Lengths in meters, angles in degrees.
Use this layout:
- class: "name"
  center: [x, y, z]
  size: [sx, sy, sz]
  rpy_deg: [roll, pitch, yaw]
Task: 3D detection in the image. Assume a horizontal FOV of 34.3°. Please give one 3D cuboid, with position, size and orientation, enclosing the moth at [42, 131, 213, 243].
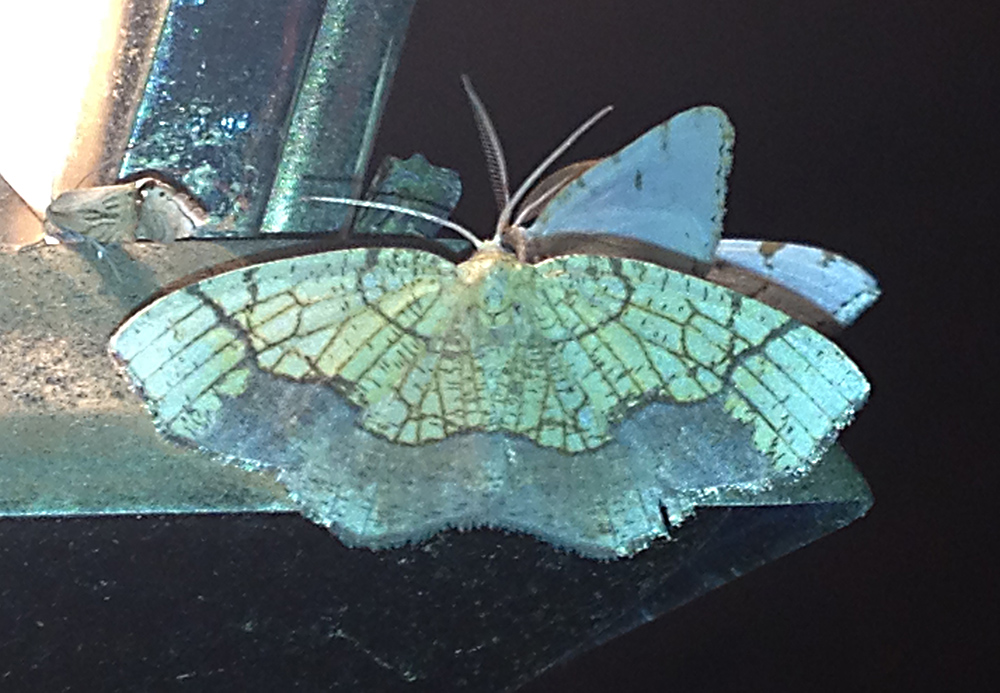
- class: "moth"
  center: [-0.830, -0.319, 3.565]
  size: [0.347, 0.147, 0.209]
  rpy_deg: [-17, -7, 3]

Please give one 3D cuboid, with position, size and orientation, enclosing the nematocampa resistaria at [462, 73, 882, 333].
- class: "nematocampa resistaria"
  center: [0.423, -0.332, 3.667]
  size: [0.654, 0.513, 0.658]
  rpy_deg: [1, 23, -2]
